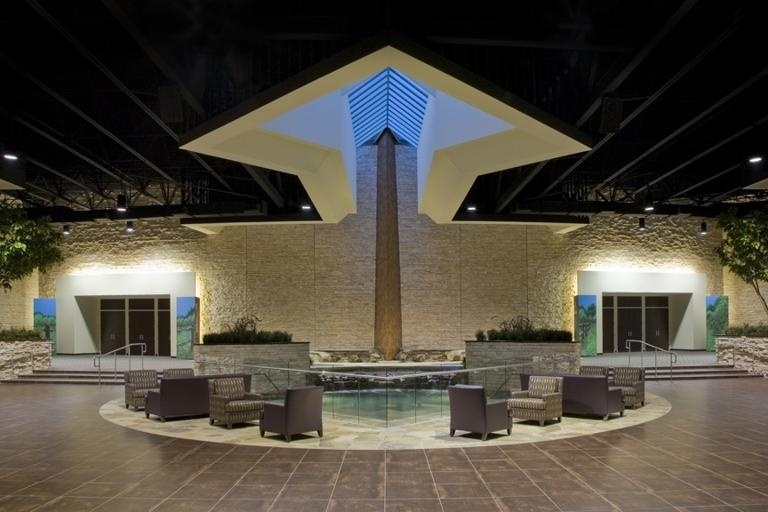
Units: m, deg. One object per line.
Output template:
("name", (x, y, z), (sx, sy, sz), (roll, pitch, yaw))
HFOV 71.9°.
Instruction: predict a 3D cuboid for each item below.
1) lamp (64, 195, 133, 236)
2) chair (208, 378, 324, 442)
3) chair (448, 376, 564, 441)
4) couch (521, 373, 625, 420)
("lamp", (-13.742, -1.939, 25.485), (3.826, 0.591, 2.400), (-5, -5, 43))
("chair", (-3.129, 3.960, 13.838), (3.106, 1.330, 0.964), (-4, -6, 33))
("chair", (3.248, 3.929, 13.875), (3.289, 1.261, 0.915), (3, -6, -33))
("couch", (6.003, 3.841, 15.144), (2.190, 1.070, 1.206), (-3, -3, 34))
